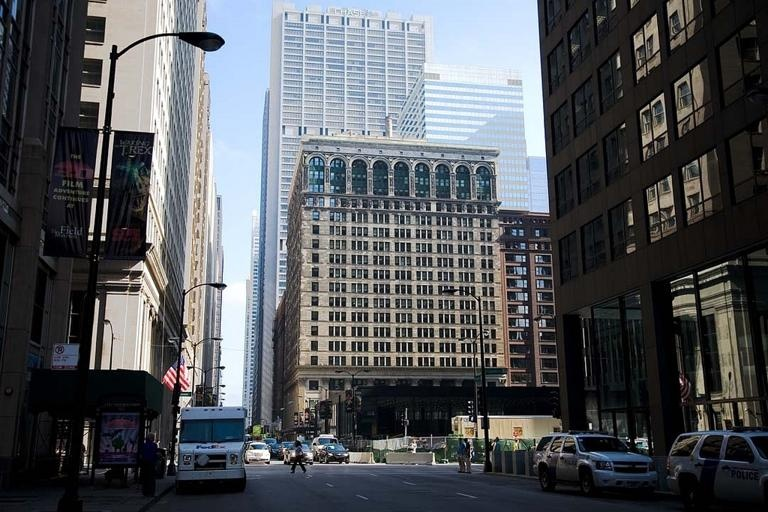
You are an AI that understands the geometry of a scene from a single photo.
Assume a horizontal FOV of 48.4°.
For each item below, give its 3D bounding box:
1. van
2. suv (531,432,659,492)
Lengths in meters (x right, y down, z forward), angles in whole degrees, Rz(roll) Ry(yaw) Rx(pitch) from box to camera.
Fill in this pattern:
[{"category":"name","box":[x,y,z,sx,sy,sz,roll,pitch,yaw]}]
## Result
[{"category":"van","box":[-9.060,9.902,44.328,3.135,3.841,9.048,2,-7,-11]},{"category":"suv","box":[10.019,9.961,41.166,2.301,2.955,5.377,10,-19,-32]}]
